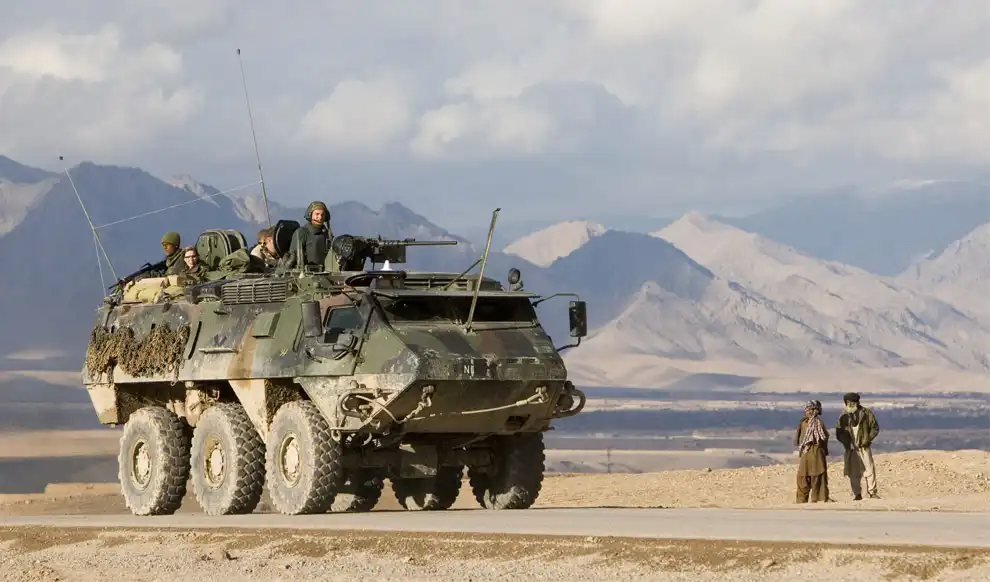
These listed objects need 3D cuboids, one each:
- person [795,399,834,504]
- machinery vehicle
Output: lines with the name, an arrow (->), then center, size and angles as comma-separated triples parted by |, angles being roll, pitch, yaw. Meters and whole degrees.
person -> 11.457, 5.917, 55.198 | 1.091, 3.768, 1.178 | 3, 2, -37
machinery vehicle -> -6.115, 2.706, 54.686 | 18.484, 9.970, 7.453 | 3, -3, 25
